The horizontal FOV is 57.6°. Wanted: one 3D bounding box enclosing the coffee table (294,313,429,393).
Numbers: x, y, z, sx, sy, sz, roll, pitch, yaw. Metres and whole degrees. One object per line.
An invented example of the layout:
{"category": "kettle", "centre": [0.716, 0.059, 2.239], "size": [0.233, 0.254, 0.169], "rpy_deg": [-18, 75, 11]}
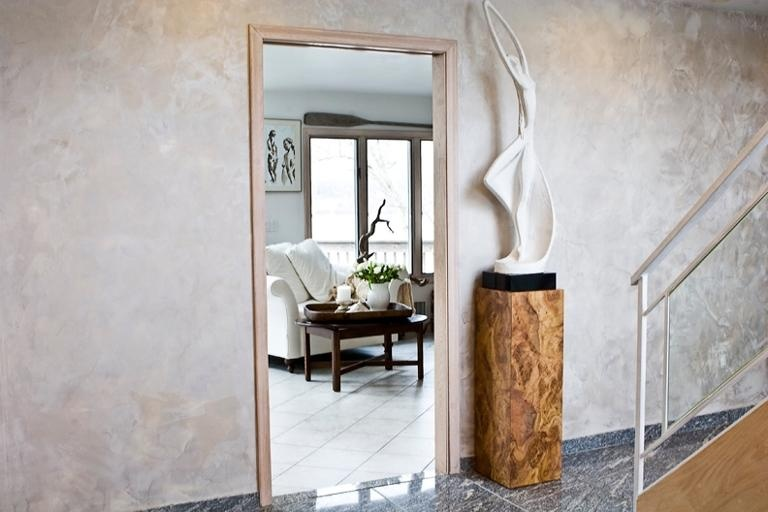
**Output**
{"category": "coffee table", "centre": [-0.189, 0.759, 6.134], "size": [1.113, 0.616, 0.764], "rpy_deg": [-1, 10, -20]}

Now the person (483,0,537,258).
{"category": "person", "centre": [0.768, -0.794, 4.340], "size": [0.379, 1.590, 0.355], "rpy_deg": [4, 10, 10]}

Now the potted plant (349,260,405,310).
{"category": "potted plant", "centre": [-0.022, 0.250, 6.125], "size": [0.430, 0.414, 0.420], "rpy_deg": [2, -7, -24]}

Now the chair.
{"category": "chair", "centre": [-0.618, 0.370, 6.695], "size": [1.133, 0.802, 0.782], "rpy_deg": [8, 6, -42]}
